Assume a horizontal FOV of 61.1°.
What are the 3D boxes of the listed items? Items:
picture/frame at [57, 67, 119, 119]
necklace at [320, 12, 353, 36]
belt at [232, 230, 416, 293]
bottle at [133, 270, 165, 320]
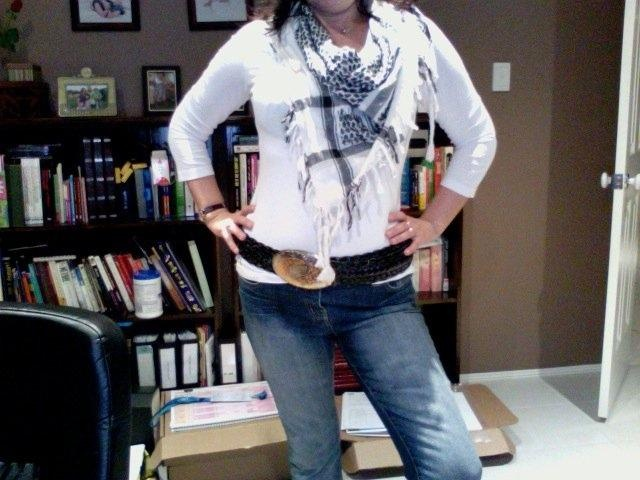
[{"bbox_3d":[-1.023,-0.635,2.363,0.258,0.249,0.019,-2,0,-8],"label":"picture/frame"},{"bbox_3d":[0.042,-0.532,1.345,0.054,0.070,0.076,-15,1,8],"label":"necklace"},{"bbox_3d":[0.007,0.046,1.328,0.444,0.112,0.132,-4,18,4],"label":"belt"},{"bbox_3d":[-0.760,0.238,2.390,0.127,0.207,0.122,-4,17,1],"label":"bottle"}]
